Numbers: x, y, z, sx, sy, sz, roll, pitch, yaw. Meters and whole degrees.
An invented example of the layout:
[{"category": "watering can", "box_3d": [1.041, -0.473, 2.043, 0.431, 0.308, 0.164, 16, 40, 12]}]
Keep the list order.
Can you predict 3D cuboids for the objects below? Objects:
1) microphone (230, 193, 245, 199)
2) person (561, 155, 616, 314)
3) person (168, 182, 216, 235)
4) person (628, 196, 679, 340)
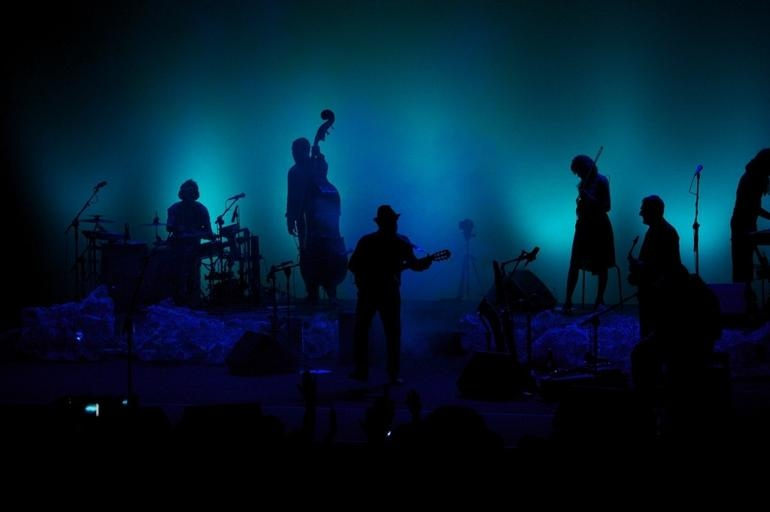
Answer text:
[{"category": "microphone", "box_3d": [-2.510, -1.035, 13.624, 0.135, 0.119, 0.349, 7, 12, 44]}, {"category": "person", "box_3d": [3.083, -0.363, 11.984, 0.702, 2.287, 0.778, 0, -3, -15]}, {"category": "person", "box_3d": [-3.404, -0.835, 13.664, 0.704, 1.109, 0.753, 10, 14, 40]}, {"category": "person", "box_3d": [3.599, 0.022, 10.534, 0.634, 1.712, 0.775, -3, -3, 29]}]
